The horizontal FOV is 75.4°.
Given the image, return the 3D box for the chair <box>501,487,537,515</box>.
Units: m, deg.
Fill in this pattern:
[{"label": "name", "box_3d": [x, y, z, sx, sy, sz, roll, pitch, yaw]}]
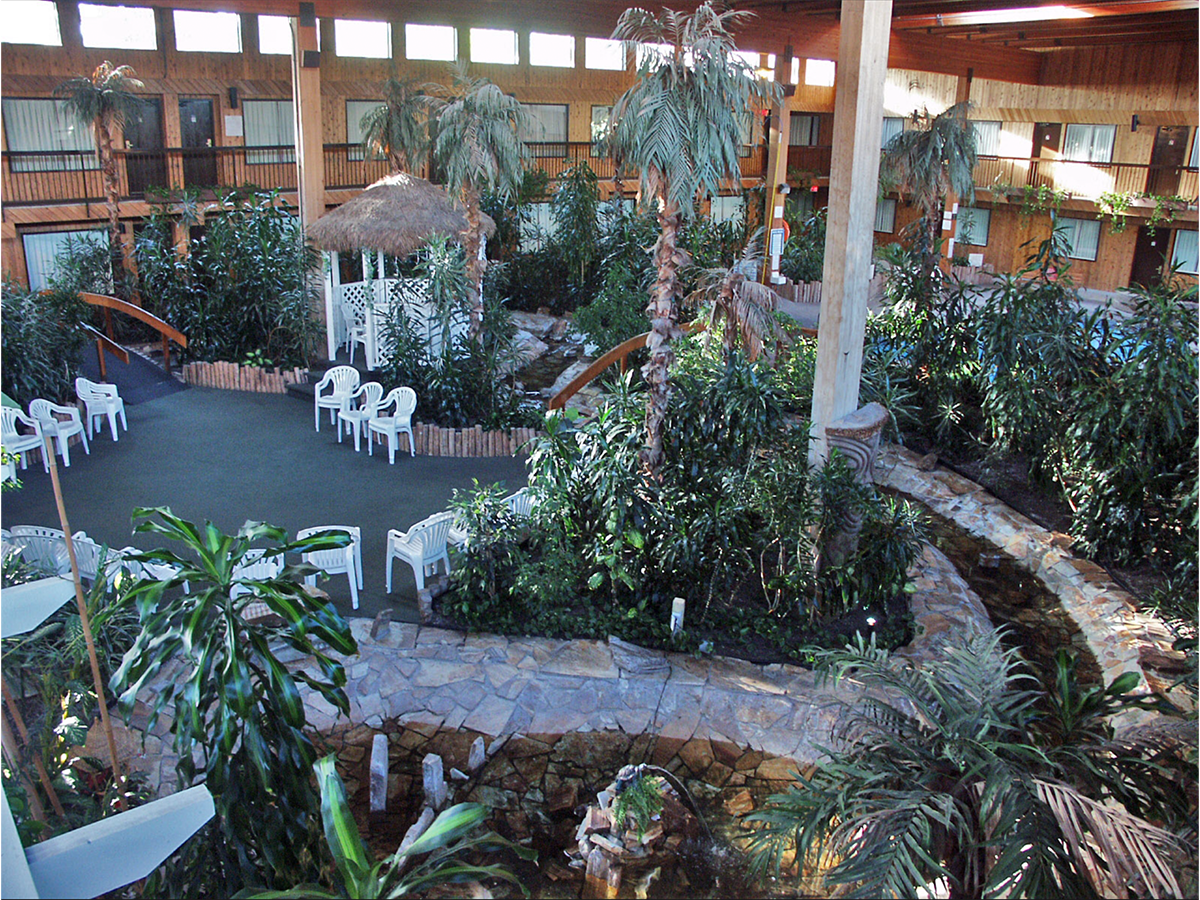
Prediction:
[{"label": "chair", "box_3d": [-0.904, 0.603, 9.037, 0.305, 0.363, 0.322, 19, 24, 41]}]
